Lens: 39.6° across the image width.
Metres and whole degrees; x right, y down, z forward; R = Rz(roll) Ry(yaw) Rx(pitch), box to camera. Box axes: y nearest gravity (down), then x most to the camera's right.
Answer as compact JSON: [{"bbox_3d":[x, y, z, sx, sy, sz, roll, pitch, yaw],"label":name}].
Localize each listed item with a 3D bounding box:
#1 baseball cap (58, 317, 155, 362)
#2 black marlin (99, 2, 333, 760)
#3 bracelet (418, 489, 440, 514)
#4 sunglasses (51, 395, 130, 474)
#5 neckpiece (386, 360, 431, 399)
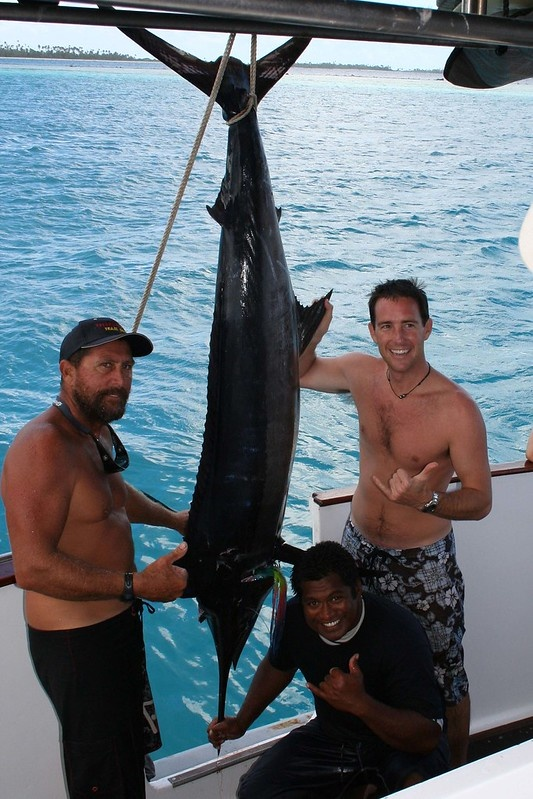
[{"bbox_3d":[-0.410,-0.157,1.892,0.201,0.093,0.134,-10,-2,31],"label":"baseball cap"},{"bbox_3d":[-0.043,0.016,1.693,0.318,1.586,0.202,-6,14,-22],"label":"black marlin"},{"bbox_3d":[0.437,0.279,1.979,0.036,0.061,0.067,8,15,32],"label":"bracelet"},{"bbox_3d":[-0.482,0.116,1.948,0.058,0.219,0.165,-46,-8,5],"label":"sunglasses"},{"bbox_3d":[0.427,-0.058,2.298,0.159,0.105,0.079,8,15,33],"label":"neckpiece"}]
